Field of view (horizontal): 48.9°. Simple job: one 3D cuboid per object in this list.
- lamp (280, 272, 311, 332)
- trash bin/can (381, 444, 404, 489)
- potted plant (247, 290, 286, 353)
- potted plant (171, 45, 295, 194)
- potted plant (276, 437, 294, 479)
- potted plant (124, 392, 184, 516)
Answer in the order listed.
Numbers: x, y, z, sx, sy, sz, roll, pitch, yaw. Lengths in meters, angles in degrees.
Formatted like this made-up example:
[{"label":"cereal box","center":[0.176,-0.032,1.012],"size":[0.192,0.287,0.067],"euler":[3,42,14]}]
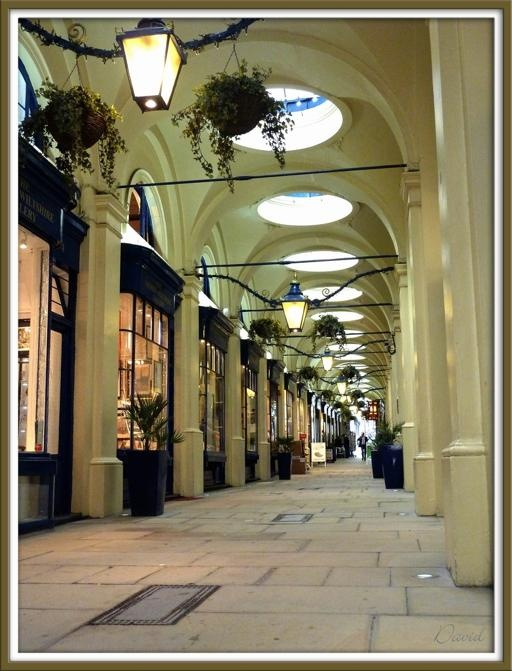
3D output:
[{"label":"lamp","center":[0.693,-0.558,10.017],"size":[0.561,0.929,0.640],"euler":[-1,-2,44]},{"label":"trash bin/can","center":[3.025,2.915,12.539],"size":[0.431,0.957,0.538],"euler":[-4,-10,13]},{"label":"potted plant","center":[0.222,-0.501,15.350],"size":[1.012,1.565,0.861],"euler":[8,16,-21]},{"label":"potted plant","center":[-0.148,-1.942,4.498],"size":[0.624,0.976,0.608],"euler":[12,32,28]},{"label":"potted plant","center":[1.028,4.419,20.465],"size":[0.554,1.435,1.369],"euler":[-2,-10,3]},{"label":"potted plant","center":[-1.557,1.733,8.172],"size":[0.946,1.699,0.665],"euler":[-6,-15,16]}]
